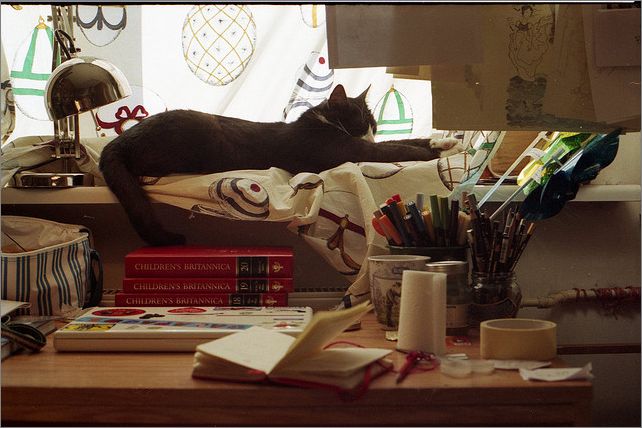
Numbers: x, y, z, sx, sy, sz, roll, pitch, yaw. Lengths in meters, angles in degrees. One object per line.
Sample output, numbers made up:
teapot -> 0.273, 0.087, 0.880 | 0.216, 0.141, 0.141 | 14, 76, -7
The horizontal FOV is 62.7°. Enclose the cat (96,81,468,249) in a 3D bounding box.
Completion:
cat -> -0.164, -0.140, 1.451 | 0.768, 0.270, 0.390 | -5, 13, -3

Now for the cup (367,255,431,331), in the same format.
cup -> 0.203, 0.195, 1.356 | 0.187, 0.179, 0.172 | 0, 0, 0

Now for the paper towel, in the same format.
paper towel -> 0.224, 0.217, 1.164 | 0.102, 0.160, 0.138 | 3, 11, 2

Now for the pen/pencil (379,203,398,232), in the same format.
pen/pencil -> 0.178, 0.011, 1.336 | 0.025, 0.079, 0.022 | -23, 22, 25

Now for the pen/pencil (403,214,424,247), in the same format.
pen/pencil -> 0.230, 0.040, 1.312 | 0.029, 0.101, 0.025 | -13, 18, 29

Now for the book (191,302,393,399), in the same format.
book -> -0.056, 0.222, 1.066 | 0.266, 0.114, 0.258 | 0, -6, 16

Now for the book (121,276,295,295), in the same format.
book -> -0.297, 0.187, 1.388 | 0.441, 0.053, 0.010 | -2, 7, 0
